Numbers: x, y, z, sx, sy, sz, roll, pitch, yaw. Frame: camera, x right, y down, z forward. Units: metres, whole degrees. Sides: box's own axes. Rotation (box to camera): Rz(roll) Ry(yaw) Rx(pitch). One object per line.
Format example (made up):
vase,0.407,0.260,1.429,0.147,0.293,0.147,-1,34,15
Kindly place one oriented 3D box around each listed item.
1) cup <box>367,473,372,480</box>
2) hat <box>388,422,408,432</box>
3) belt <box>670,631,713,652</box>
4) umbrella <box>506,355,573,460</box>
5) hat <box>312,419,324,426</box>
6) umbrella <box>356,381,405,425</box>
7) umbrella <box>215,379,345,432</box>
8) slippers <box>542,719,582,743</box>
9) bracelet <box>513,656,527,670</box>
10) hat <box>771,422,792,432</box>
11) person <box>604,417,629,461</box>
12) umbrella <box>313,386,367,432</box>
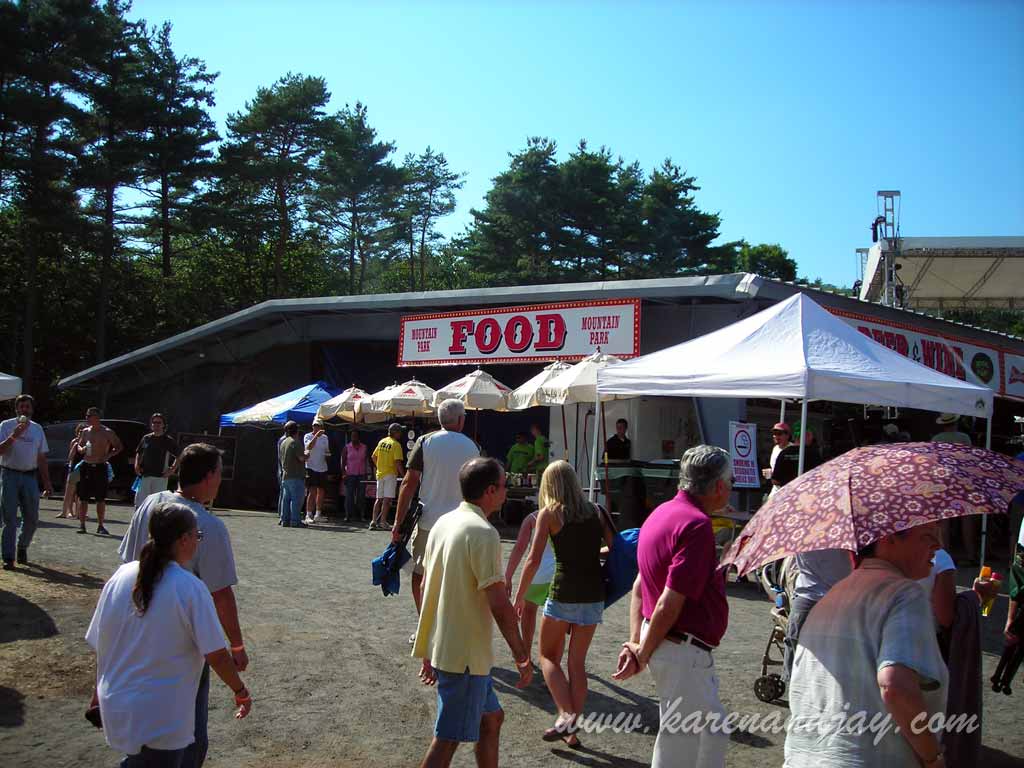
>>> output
cup,-2.956,1.903,20.893,0.181,0.112,0.101,-3,0,38
hat,-2.196,0.814,19.297,0.351,0.211,0.244,-4,7,-25
belt,0.993,1.403,5.515,0.267,0.109,0.065,5,-4,-18
umbrella,0.628,0.367,17.697,1.588,1.641,1.456,-4,0,-39
hat,-3.681,0.687,19.037,0.176,0.115,0.257,7,-9,-17
umbrella,-2.600,0.385,19.679,0.763,0.417,0.787,-5,-5,39
umbrella,-4.655,0.516,21.167,1.351,0.666,1.386,-8,-9,30
slippers,0.346,2.369,6.862,0.317,0.138,0.114,1,-7,22
bracelet,0.046,1.619,5.874,0.064,0.094,0.082,-3,2,4
hat,3.143,0.499,11.711,0.154,0.080,0.230,-4,-9,23
person,1.860,0.984,17.827,0.492,1.206,0.426,2,-15,2
umbrella,-3.292,0.446,20.100,0.816,0.541,0.871,-1,-7,18
